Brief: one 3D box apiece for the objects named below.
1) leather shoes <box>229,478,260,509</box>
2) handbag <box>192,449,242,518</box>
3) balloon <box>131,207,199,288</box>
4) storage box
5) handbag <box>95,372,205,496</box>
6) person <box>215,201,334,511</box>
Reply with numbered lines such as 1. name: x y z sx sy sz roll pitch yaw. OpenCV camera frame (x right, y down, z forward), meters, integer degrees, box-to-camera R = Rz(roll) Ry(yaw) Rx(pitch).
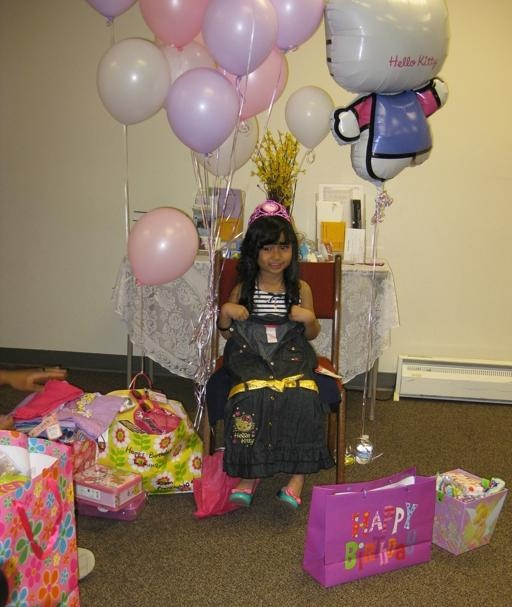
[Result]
1. leather shoes: -0.046 0.654 1.658 0.052 0.064 0.150 -1 -24 8
2. handbag: -0.161 0.685 1.758 0.192 0.077 0.267 10 23 -7
3. balloon: -0.324 -0.204 1.727 0.224 0.287 0.173 -5 9 -44
4. storage box: 0.664 0.663 1.536 0.267 0.219 0.208 -3 8 -37
5. handbag: -0.405 0.519 1.875 0.409 0.404 0.241 3 12 -3
6. person: 0.065 0.176 1.844 0.488 1.148 0.591 2 6 5
